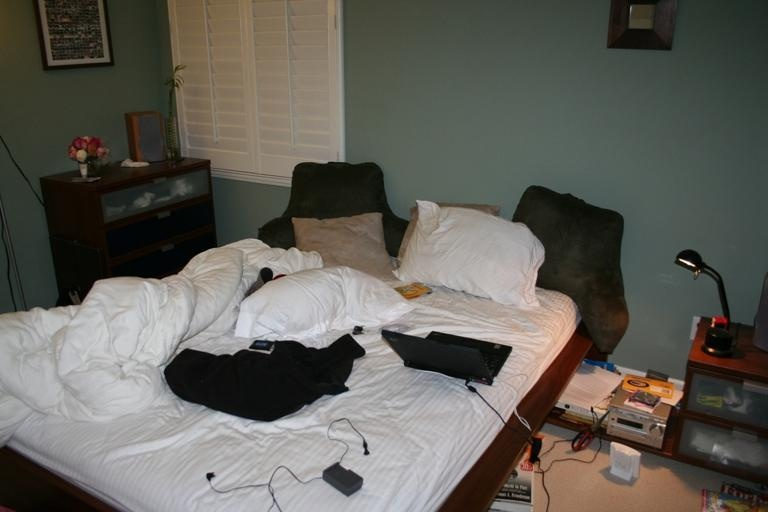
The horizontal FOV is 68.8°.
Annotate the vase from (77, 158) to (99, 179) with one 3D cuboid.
[{"bbox_3d":[-2.062,-0.609,3.927,0.139,0.154,0.136,-8,26,-27],"label":"vase"}]

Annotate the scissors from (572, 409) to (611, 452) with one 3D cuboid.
[{"bbox_3d":[1.258,1.054,3.309,0.171,0.115,0.426,21,20,24],"label":"scissors"}]

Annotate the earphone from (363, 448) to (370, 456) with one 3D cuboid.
[{"bbox_3d":[-0.075,0.804,2.290,0.022,0.023,0.022,-4,15,0],"label":"earphone"}]

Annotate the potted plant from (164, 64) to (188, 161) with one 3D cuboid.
[{"bbox_3d":[-1.697,-1.182,4.587,0.205,0.717,0.602,-6,22,-17],"label":"potted plant"}]

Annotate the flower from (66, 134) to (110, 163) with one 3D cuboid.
[{"bbox_3d":[-2.057,-0.776,3.927,0.233,0.140,0.239,1,16,9],"label":"flower"}]

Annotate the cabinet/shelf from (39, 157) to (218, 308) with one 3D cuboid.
[{"bbox_3d":[-1.815,-0.164,3.828,0.478,0.828,0.916,7,23,27],"label":"cabinet/shelf"}]

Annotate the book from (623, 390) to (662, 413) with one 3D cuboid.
[{"bbox_3d":[1.470,0.811,3.205,0.123,0.034,0.128,4,21,15],"label":"book"}]
